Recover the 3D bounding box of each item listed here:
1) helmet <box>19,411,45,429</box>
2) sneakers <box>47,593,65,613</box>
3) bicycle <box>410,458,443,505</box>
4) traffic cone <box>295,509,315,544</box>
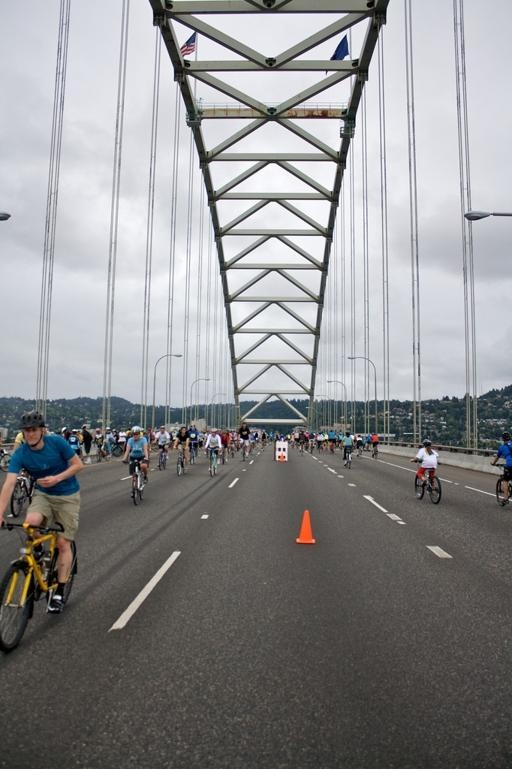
[{"bbox_3d":[-1.675,0.271,4.189,0.166,0.131,0.264,3,-6,-25],"label":"helmet"},{"bbox_3d":[-1.640,1.783,4.565,0.063,0.113,0.222,1,-18,-10],"label":"sneakers"},{"bbox_3d":[4.366,2.521,13.906,0.441,0.837,1.093,1,3,-6],"label":"bicycle"},{"bbox_3d":[0.727,2.112,8.182,0.279,0.637,0.383,1,-17,1],"label":"traffic cone"}]
